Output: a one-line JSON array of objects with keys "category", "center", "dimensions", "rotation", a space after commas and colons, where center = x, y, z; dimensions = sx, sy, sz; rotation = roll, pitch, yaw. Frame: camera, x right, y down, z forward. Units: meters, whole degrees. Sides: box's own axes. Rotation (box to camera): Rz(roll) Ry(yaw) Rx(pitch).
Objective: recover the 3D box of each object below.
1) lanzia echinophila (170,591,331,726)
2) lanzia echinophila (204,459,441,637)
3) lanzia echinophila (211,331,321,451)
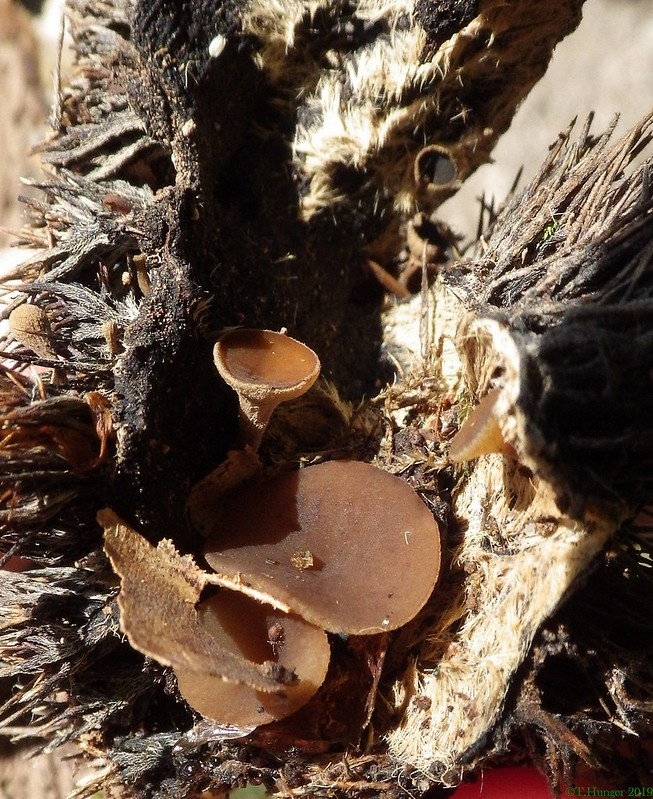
[{"category": "lanzia echinophila", "center": [-0.126, 0.416, 1.553], "dimensions": [0.230, 0.103, 0.197], "rotation": [25, 77, 8]}, {"category": "lanzia echinophila", "center": [0.018, 0.223, 1.618], "dimensions": [0.355, 0.123, 0.281], "rotation": [31, 78, 10]}, {"category": "lanzia echinophila", "center": [-0.110, -0.015, 1.684], "dimensions": [0.146, 0.167, 0.137], "rotation": [-34, 65, -33]}]
